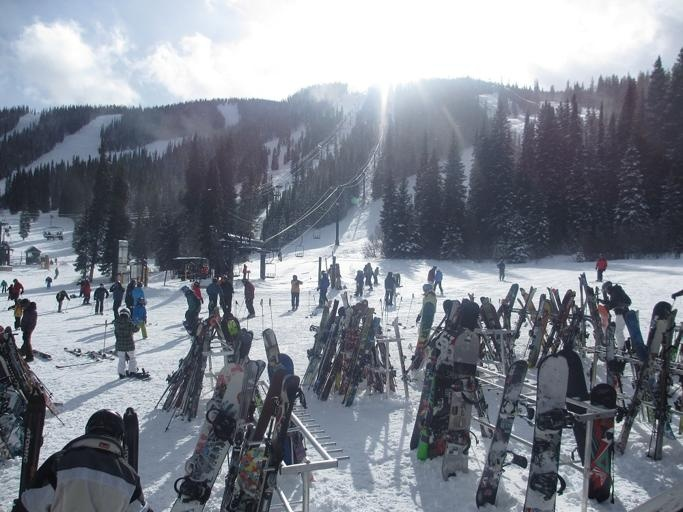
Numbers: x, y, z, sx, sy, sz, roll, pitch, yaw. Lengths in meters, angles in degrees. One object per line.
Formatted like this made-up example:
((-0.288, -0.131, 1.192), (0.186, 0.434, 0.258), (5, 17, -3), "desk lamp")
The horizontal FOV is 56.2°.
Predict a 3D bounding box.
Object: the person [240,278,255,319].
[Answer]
((-3.947, 1.814, 27.340), (0.414, 1.457, 1.352), (-1, 4, -10), "person")

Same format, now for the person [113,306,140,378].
((-6.201, 2.457, 18.393), (0.594, 1.832, 1.059), (-2, 5, -21), "person")

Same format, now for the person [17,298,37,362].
((-9.618, 2.287, 19.475), (0.559, 2.163, 0.825), (9, -27, -37), "person")

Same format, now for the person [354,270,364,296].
((0.954, 1.467, 34.542), (0.443, 1.292, 1.211), (0, 4, 1), "person")
